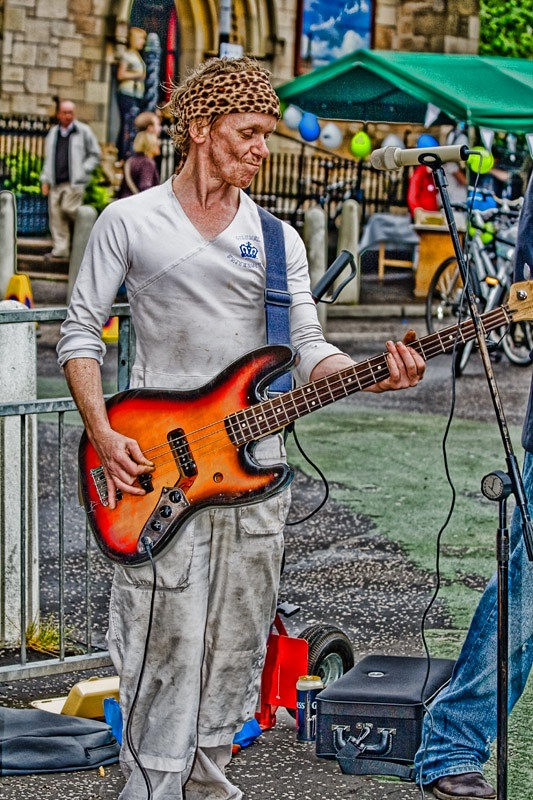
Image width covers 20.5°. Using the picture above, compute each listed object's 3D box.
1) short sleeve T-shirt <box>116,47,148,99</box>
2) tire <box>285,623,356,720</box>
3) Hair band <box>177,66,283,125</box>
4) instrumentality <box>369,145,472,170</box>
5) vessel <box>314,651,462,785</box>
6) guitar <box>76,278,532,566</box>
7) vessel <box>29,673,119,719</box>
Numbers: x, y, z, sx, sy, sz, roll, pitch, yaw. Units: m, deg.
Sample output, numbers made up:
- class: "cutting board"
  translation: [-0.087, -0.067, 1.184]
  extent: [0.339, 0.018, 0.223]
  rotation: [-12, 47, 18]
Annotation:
- class: "short sleeve T-shirt"
  translation: [-1.934, -4.659, 21.101]
  extent: [0.409, 0.768, 0.766]
  rotation: [13, 17, 12]
- class: "tire"
  translation: [0.180, 0.902, 4.825]
  extent: [0.097, 0.257, 0.254]
  rotation: [3, -11, 25]
- class: "Hair band"
  translation: [-0.106, -0.830, 4.009]
  extent: [0.210, 0.119, 0.175]
  rotation: [-8, 8, -3]
- class: "instrumentality"
  translation: [0.426, -0.657, 4.023]
  extent: [0.223, 0.073, 0.416]
  rotation: [-1, 10, -16]
- class: "vessel"
  translation: [0.369, 0.972, 4.637]
  extent: [0.334, 0.241, 0.487]
  rotation: [2, 5, 14]
- class: "guitar"
  translation: [0.214, 0.154, 5.682]
  extent: [1.701, 0.522, 0.223]
  rotation: [-21, -9, -4]
- class: "vessel"
  translation: [-0.630, 1.001, 4.941]
  extent: [0.230, 0.076, 0.155]
  rotation: [-2, 9, -19]
